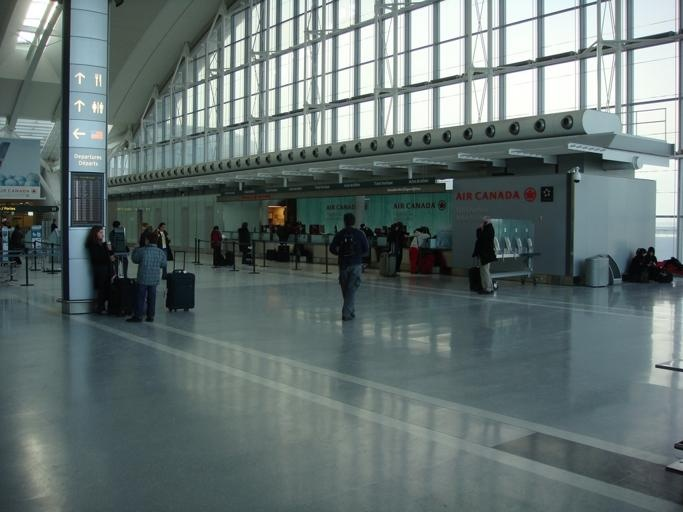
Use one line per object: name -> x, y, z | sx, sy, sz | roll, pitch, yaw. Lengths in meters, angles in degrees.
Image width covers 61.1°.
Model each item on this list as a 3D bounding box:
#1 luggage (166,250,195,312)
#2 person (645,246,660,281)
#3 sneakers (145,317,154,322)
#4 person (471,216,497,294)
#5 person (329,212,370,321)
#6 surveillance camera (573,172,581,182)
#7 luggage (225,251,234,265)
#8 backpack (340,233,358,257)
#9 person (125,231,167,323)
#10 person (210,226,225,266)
luggage -> -3.333, 0.734, 11.967 | 0.552, 0.825, 0.531 | -1, 1, -19
person -> 9.208, 0.230, 17.212 | 0.349, 0.970, 0.528 | 0, 1, 27
sneakers -> -3.611, 1.194, 10.895 | 0.158, 0.123, 0.053 | 5, 3, 45
person -> 3.612, -0.007, 14.872 | 0.642, 1.903, 1.037 | 0, 1, 15
person -> 0.156, 0.208, 10.934 | 0.680, 1.993, 0.648 | 0, 1, 0
surveillance camera -> 6.522, -2.170, 16.013 | 0.347, 0.279, 0.119 | -2, 1, -44
luggage -> -4.465, 0.109, 22.895 | 0.467, 0.598, 0.498 | 0, 6, -2
backpack -> 0.125, -0.204, 10.762 | 0.261, 0.410, 0.109 | 0, 1, 0
person -> -3.643, 0.381, 10.856 | 0.683, 1.689, 0.961 | -1, 1, -21
person -> -5.154, -0.465, 24.096 | 0.451, 1.631, 2.462 | -1, 1, -12
